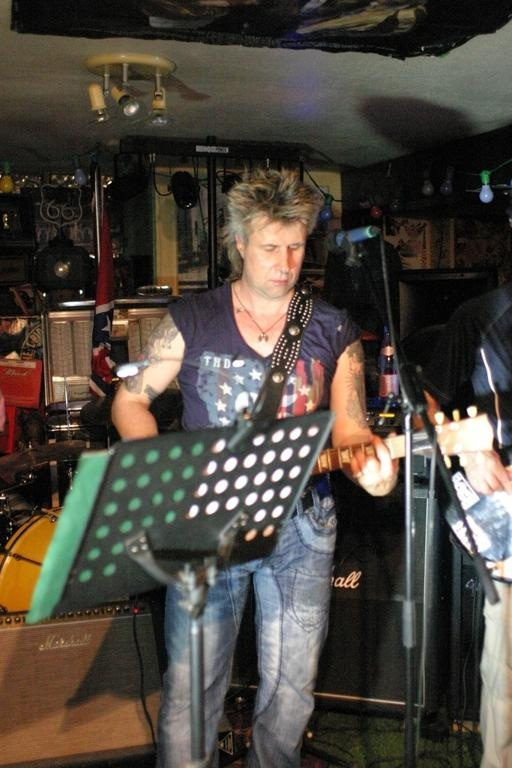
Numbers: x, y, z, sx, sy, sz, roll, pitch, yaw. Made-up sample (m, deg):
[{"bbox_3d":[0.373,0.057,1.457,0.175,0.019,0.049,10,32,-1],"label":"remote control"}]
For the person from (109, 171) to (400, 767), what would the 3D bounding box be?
[{"bbox_3d":[0.000,0.238,1.523,0.591,1.469,0.395,-1,5,-23],"label":"person"}]

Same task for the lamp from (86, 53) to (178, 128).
[{"bbox_3d":[-0.515,-1.202,2.810,0.334,0.236,0.359,13,17,42],"label":"lamp"}]

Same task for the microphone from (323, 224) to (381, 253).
[{"bbox_3d":[0.220,-0.303,1.405,0.105,0.048,0.168,-1,4,-18],"label":"microphone"}]
